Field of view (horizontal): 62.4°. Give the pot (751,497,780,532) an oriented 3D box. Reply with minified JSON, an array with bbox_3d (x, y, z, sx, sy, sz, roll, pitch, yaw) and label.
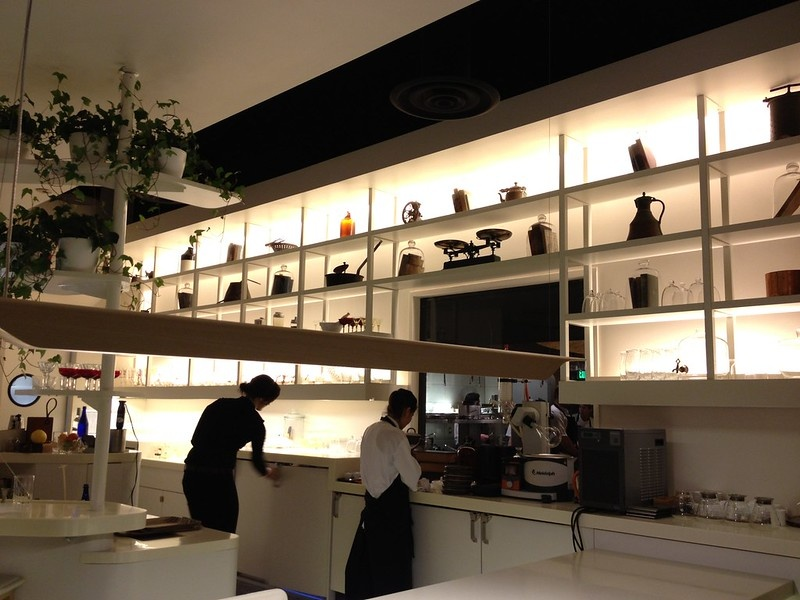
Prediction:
[{"bbox_3d":[1.974,1.134,3.555,0.146,0.136,0.115,-8,-15,43],"label":"pot"}]

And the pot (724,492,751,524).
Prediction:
[{"bbox_3d":[1.842,1.139,3.617,0.122,0.138,0.126,5,-13,1],"label":"pot"}]

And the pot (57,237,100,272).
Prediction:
[{"bbox_3d":[-1.657,-0.231,3.393,0.173,0.137,0.156,-2,-12,10],"label":"pot"}]

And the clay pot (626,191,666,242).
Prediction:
[{"bbox_3d":[1.554,-0.511,4.216,0.211,0.364,0.200,3,-17,1],"label":"clay pot"}]

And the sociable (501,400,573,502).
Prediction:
[{"bbox_3d":[0.927,0.994,4.429,0.474,0.623,0.534,-1,-12,15],"label":"sociable"}]

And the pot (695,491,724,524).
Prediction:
[{"bbox_3d":[1.770,1.174,3.778,0.146,0.150,0.142,3,-7,0],"label":"pot"}]

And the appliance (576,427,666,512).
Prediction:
[{"bbox_3d":[1.299,0.917,4.074,0.437,0.626,0.573,6,-9,-40],"label":"appliance"}]

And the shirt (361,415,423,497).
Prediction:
[{"bbox_3d":[-0.110,1.070,4.550,0.475,0.493,0.259,2,2,38],"label":"shirt"}]
